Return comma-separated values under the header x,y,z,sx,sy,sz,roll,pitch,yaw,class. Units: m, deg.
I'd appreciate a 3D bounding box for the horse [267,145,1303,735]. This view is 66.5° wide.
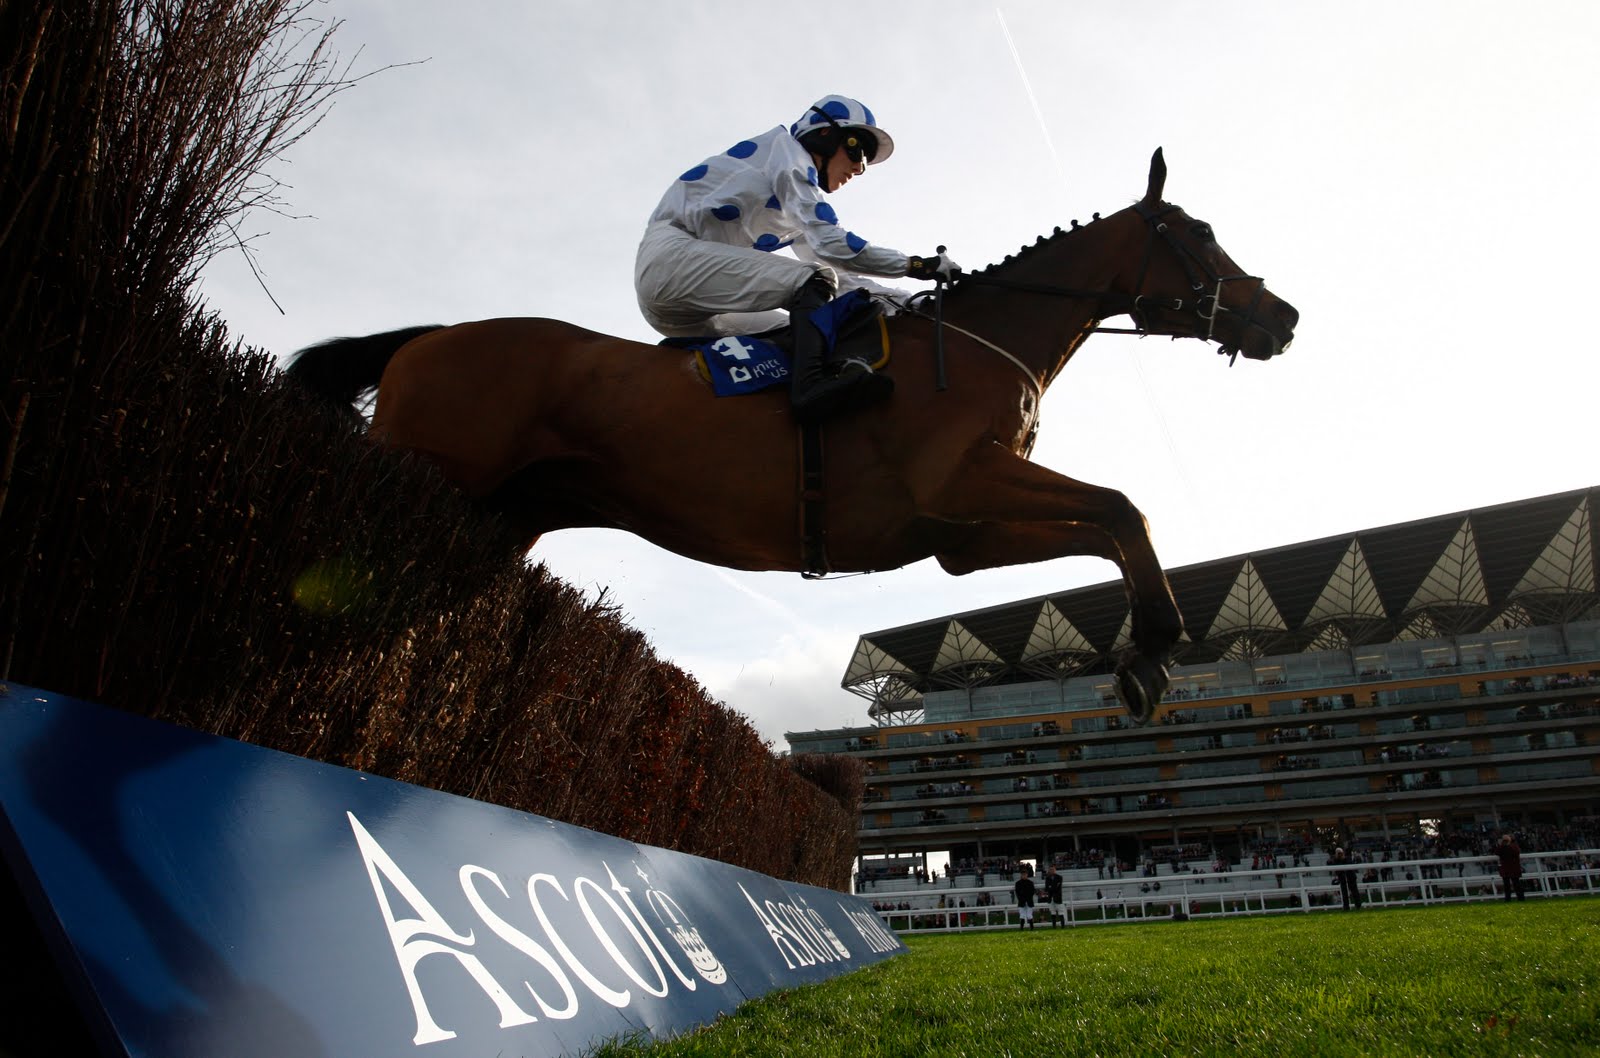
x,y,z,sx,sy,sz,roll,pitch,yaw,class
-0.228,-0.215,5.103,4.379,2.495,0.869,-1,-17,9,horse
